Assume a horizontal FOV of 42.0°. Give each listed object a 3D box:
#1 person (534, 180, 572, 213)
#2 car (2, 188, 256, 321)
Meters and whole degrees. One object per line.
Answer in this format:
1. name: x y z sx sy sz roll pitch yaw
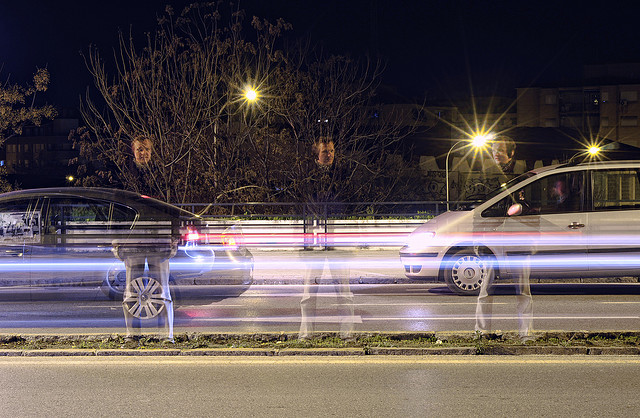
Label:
1. person: 5.390 -0.292 18.929 0.471 0.842 0.872 -13 -6 27
2. car: -3.982 0.799 16.477 5.227 1.640 2.343 3 -1 -1
